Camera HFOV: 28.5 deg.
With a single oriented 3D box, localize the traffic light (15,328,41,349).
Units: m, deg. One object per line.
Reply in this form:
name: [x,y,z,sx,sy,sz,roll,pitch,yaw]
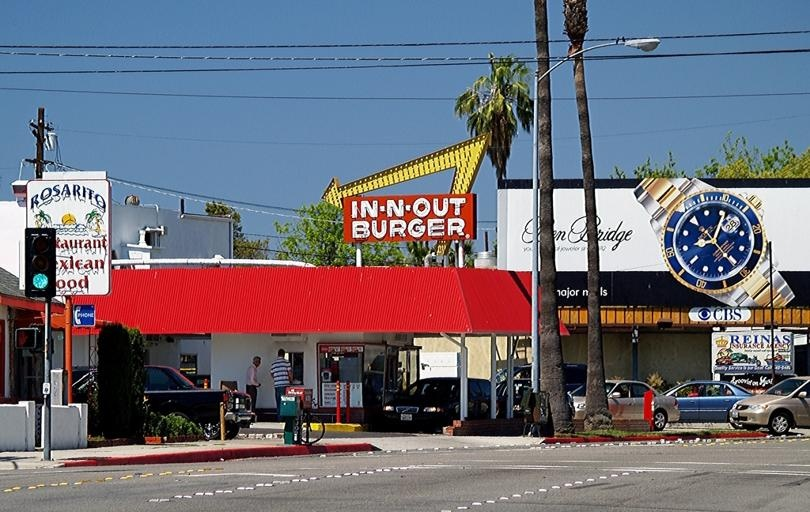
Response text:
traffic light: [-12.367,2.687,52.584,0.654,0.642,0.339,1,0,-3]
